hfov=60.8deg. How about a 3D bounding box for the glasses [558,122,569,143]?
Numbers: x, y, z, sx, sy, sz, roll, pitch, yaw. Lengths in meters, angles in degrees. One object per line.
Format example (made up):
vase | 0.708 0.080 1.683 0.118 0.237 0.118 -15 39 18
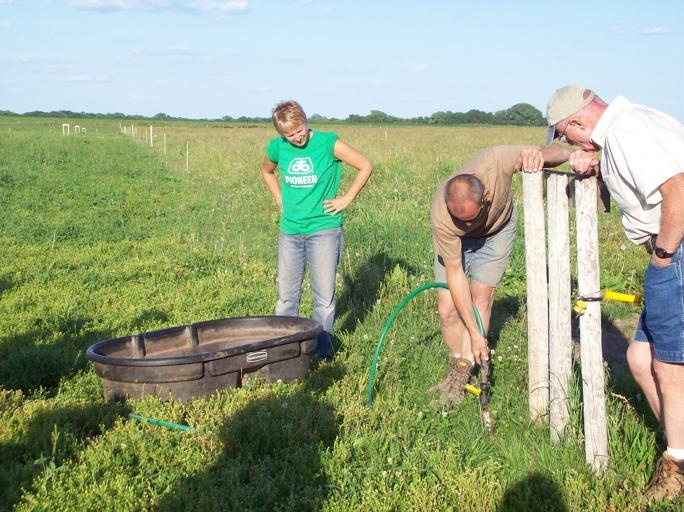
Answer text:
glasses | 1.797 -0.977 4.745 0.107 0.127 0.036 -1 13 2

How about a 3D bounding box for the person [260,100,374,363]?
person | -0.285 -0.270 6.332 1.174 2.695 0.947 -1 11 5

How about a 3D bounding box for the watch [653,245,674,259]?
watch | 2.253 -0.023 4.094 0.079 0.097 0.087 -2 -4 3

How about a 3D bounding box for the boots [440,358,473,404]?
boots | 1.244 1.184 5.746 0.371 0.178 0.626 -33 -6 18
